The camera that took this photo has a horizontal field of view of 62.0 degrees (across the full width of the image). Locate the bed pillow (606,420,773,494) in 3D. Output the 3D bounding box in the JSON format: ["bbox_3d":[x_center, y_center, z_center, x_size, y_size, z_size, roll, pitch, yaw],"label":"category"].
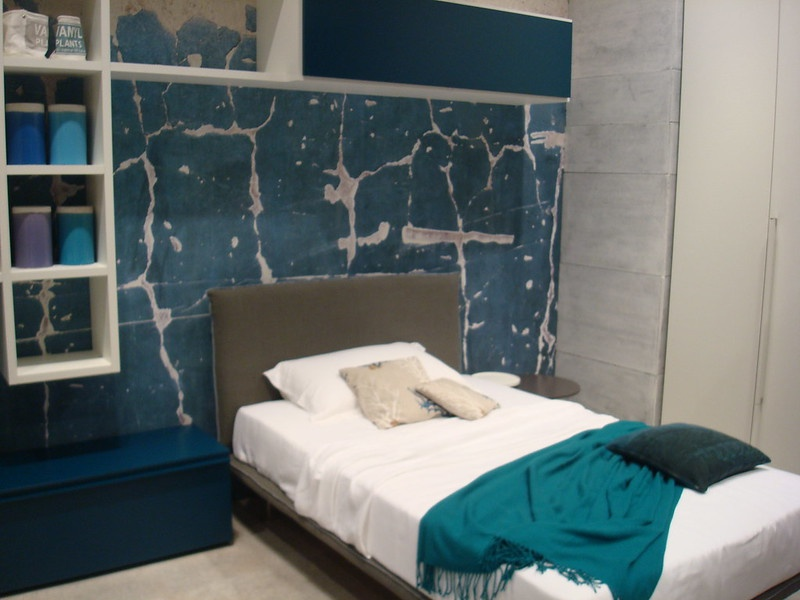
[{"bbox_3d":[1.349,0.701,3.062,0.357,0.133,0.392,-5,14,-33],"label":"bed pillow"}]

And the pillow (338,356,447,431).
[{"bbox_3d":[-0.039,0.532,3.812,0.478,0.295,0.390,-8,8,-29],"label":"pillow"}]
